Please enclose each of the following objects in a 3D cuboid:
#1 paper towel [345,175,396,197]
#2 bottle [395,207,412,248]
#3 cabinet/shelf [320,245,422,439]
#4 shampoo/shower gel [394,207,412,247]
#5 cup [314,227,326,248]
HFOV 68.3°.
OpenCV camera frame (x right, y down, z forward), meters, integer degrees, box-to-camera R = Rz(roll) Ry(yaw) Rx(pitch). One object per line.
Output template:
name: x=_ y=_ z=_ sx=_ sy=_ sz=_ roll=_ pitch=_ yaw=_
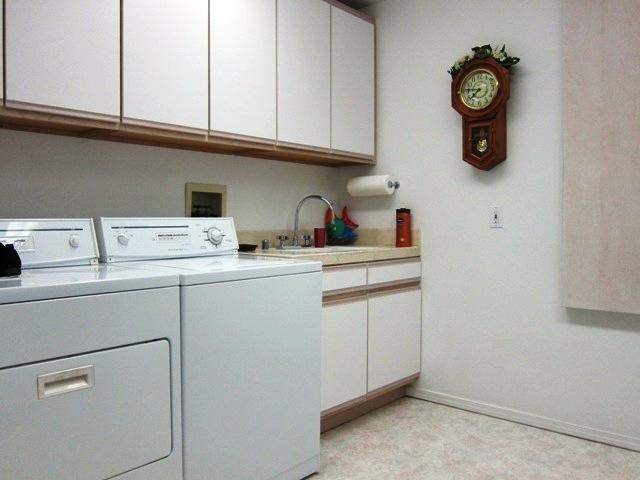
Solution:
paper towel: x=0.375 y=-0.387 z=3.374 sx=0.179 sy=0.145 sz=0.360 roll=-7 pitch=9 yaw=-44
bottle: x=0.583 y=-0.083 z=3.207 sx=0.120 sy=0.255 sz=0.132 roll=-1 pitch=7 yaw=-4
cabinet/shelf: x=0.294 y=0.624 z=2.831 sx=0.920 sy=0.923 sz=0.429 roll=5 pitch=-10 yaw=-44
shampoo/shower gel: x=0.576 y=-0.085 z=3.213 sx=0.108 sy=0.257 sz=0.148 roll=1 pitch=7 yaw=12
cup: x=0.011 y=-0.005 z=3.322 sx=0.105 sy=0.167 sz=0.110 roll=1 pitch=2 yaw=0
